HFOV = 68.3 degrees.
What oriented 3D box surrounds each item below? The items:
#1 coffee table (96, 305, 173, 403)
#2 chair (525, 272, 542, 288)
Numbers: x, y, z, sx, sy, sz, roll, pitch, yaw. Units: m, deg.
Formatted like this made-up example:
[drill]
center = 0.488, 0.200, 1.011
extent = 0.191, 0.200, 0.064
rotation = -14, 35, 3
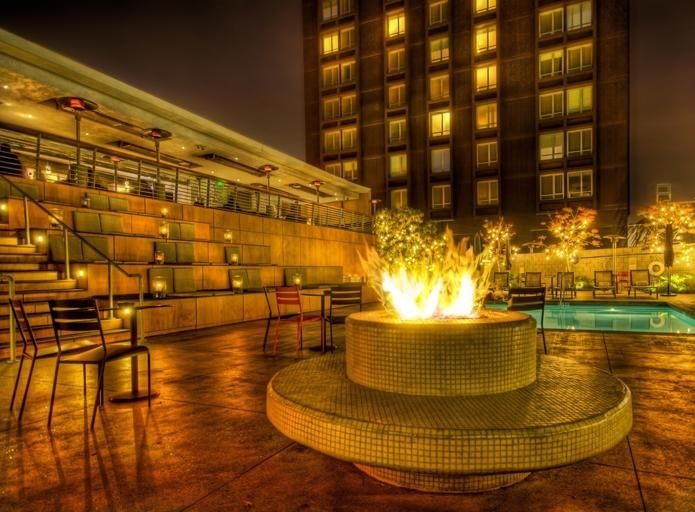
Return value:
[coffee table]
center = -3.750, 1.707, 8.964
extent = 1.371, 1.607, 1.421
rotation = 1, 3, 26
[chair]
center = 7.701, 0.958, 21.211
extent = 0.448, 0.872, 0.509
rotation = 3, 11, 27
